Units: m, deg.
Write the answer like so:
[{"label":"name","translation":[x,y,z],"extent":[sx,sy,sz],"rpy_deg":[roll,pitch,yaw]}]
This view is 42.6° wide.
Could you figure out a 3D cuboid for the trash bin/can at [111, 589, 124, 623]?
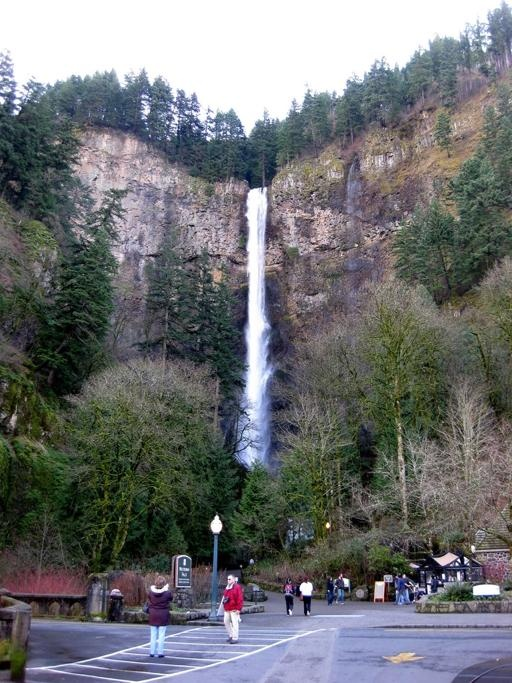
[{"label":"trash bin/can","translation":[-3.869,7.234,17.977],"extent":[0.317,0.809,0.376],"rpy_deg":[0,-18,-1]}]

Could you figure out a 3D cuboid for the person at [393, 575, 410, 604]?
[{"label":"person","translation":[5.514,9.314,24.625],"extent":[0.484,0.935,1.632],"rpy_deg":[-4,-19,12]}]

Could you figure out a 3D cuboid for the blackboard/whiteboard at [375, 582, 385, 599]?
[{"label":"blackboard/whiteboard","translation":[5.020,10.171,26.675],"extent":[0.436,0.710,0.273],"rpy_deg":[-13,-22,33]}]

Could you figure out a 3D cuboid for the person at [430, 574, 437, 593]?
[{"label":"person","translation":[6.776,9.174,24.784],"extent":[0.297,0.556,0.712],"rpy_deg":[-5,-19,13]}]

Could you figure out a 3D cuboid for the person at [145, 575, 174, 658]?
[{"label":"person","translation":[-1.667,4.703,11.275],"extent":[0.387,1.252,1.265],"rpy_deg":[2,-18,-7]}]

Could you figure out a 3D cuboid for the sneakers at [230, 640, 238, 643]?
[{"label":"sneakers","translation":[-0.422,5.751,12.589],"extent":[0.144,0.062,0.062],"rpy_deg":[-1,-6,-6]}]
